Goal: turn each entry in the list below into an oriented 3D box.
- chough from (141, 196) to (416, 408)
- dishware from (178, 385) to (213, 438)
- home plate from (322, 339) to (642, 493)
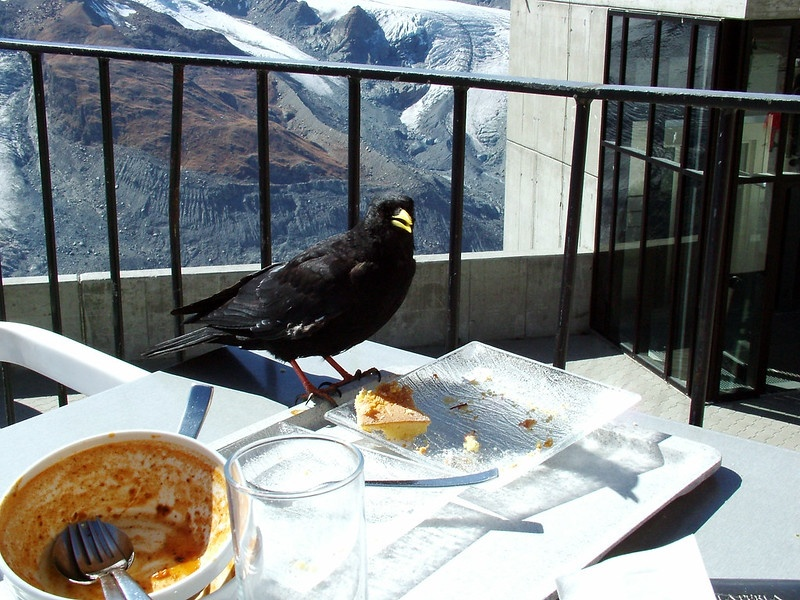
[{"bbox_3d":[-0.194,-0.054,2.099,0.935,0.588,0.398,3,3,24],"label":"chough"},{"bbox_3d":[-0.352,0.190,1.219,0.035,0.019,0.130,15,29,-1],"label":"dishware"},{"bbox_3d":[0.167,0.218,1.417,0.503,0.105,0.461,-13,20,-36],"label":"home plate"}]
